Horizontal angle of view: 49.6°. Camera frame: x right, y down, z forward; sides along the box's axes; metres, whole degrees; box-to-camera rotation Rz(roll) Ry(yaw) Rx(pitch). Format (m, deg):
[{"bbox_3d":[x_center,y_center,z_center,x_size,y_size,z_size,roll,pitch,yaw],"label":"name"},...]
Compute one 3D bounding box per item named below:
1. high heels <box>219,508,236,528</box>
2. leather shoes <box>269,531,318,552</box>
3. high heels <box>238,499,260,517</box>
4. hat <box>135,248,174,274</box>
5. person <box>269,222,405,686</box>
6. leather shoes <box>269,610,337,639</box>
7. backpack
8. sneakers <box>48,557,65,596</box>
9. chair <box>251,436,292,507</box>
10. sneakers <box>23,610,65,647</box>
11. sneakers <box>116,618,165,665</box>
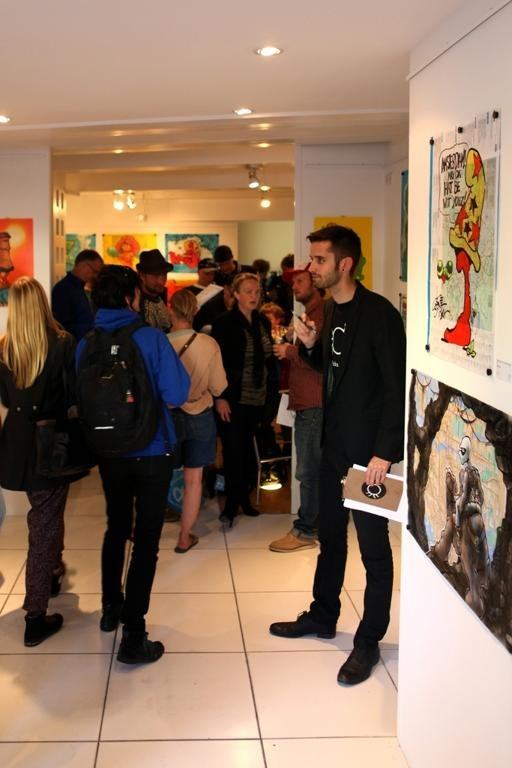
[{"bbox_3d":[-0.212,0.988,4.047,0.064,0.124,0.175,15,-34,9],"label":"high heels"},{"bbox_3d":[0.240,1.051,3.755,0.331,0.133,0.127,-1,-3,-12],"label":"leather shoes"},{"bbox_3d":[-0.047,0.971,4.342,0.196,0.134,0.074,0,2,4],"label":"high heels"},{"bbox_3d":[-0.895,-1.024,4.672,0.208,0.104,0.271,-17,14,-21],"label":"hat"},{"bbox_3d":[0.385,0.288,2.381,0.454,1.915,0.834,0,3,-15],"label":"person"},{"bbox_3d":[0.225,1.175,2.751,0.337,0.143,0.124,3,-6,4],"label":"leather shoes"},{"bbox_3d":[-0.619,0.009,2.390,0.346,0.518,0.286,0,15,3],"label":"backpack"},{"bbox_3d":[-1.122,1.095,3.144,0.057,0.187,0.077,5,-32,-8],"label":"sneakers"},{"bbox_3d":[0.167,0.687,5.056,0.327,0.350,0.314,17,-24,-25],"label":"chair"},{"bbox_3d":[-0.998,1.132,2.647,0.086,0.134,0.217,3,15,15],"label":"sneakers"},{"bbox_3d":[-0.504,1.153,2.525,0.260,0.182,0.102,-1,2,-36],"label":"sneakers"}]
